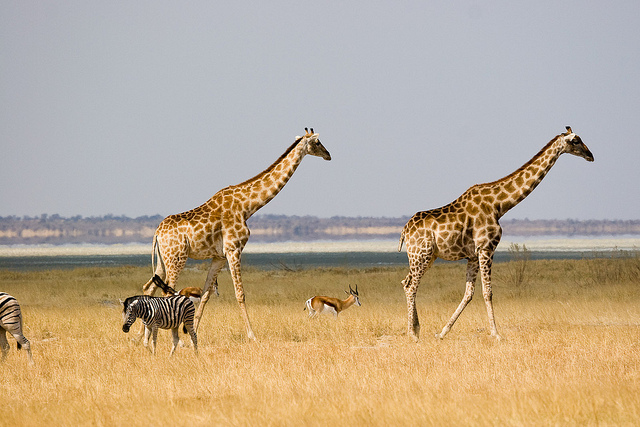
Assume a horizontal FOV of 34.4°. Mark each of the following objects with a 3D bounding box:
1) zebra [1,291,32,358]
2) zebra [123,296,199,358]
[{"bbox_3d":[-9.502,3.465,32.050,0.859,2.009,0.829,-4,9,-20],"label":"zebra"},{"bbox_3d":[-4.984,3.506,32.141,2.788,2.239,0.702,-2,7,-42],"label":"zebra"}]
